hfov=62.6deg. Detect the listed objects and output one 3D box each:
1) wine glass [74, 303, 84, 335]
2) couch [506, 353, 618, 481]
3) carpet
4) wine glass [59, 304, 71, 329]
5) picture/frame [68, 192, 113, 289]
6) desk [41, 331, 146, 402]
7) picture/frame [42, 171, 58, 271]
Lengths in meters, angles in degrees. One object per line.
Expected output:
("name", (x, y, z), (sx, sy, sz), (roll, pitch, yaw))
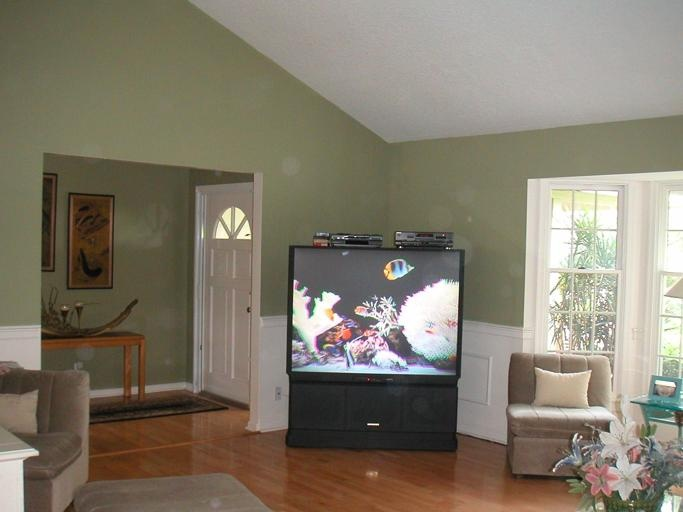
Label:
("wine glass", (-3.133, 0.705, 6.684), (0.103, 0.318, 0.216), (0, 3, -26))
("couch", (1.949, 1.399, 4.950), (1.108, 0.952, 1.124), (2, -5, -12))
("carpet", (-2.155, 1.737, 6.509), (1.402, 0.037, 0.925), (0, 2, -24))
("wine glass", (-3.248, 0.695, 6.595), (0.115, 0.247, 0.308), (0, 3, -27))
("picture/frame", (-3.041, -0.179, 6.812), (0.529, 1.149, 0.027), (2, 0, -8))
("desk", (-3.147, 1.398, 6.617), (1.428, 0.916, 0.724), (2, 1, -34))
("picture/frame", (-3.414, -0.391, 6.565), (0.159, 1.152, 0.052), (0, 3, -29))
